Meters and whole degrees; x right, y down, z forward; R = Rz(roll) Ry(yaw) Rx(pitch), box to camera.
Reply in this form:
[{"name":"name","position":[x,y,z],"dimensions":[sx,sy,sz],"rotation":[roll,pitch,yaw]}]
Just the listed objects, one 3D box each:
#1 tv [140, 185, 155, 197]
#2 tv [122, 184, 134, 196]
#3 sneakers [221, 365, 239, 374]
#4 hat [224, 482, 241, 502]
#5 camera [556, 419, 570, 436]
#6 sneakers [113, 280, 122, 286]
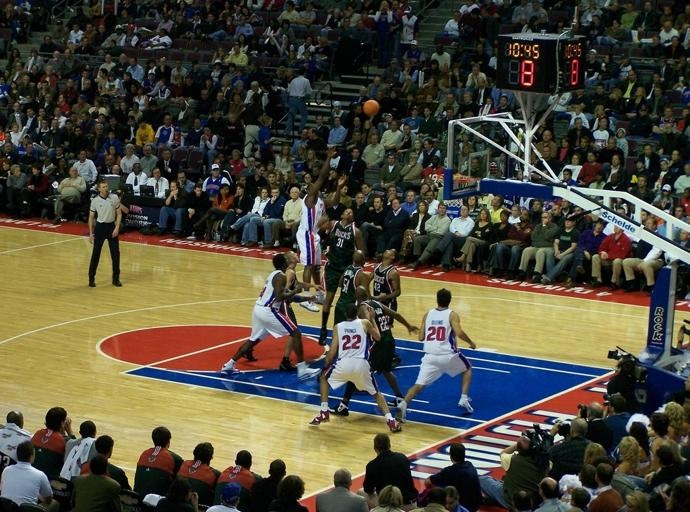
[{"name":"tv","position":[-5.628,-1.876,24.203],"dimensions":[0.362,0.380,0.311],"rotation":[7,13,14]},{"name":"tv","position":[-6.236,-1.887,24.318],"dimensions":[0.284,0.297,0.078],"rotation":[4,2,16]},{"name":"sneakers","position":[-1.873,1.901,14.040],"dimensions":[0.342,0.163,0.121],"rotation":[-1,28,-22]},{"name":"hat","position":[-1.062,2.230,7.926],"dimensions":[0.114,0.106,0.188],"rotation":[7,34,0]},{"name":"camera","position":[2.649,2.070,10.167],"dimensions":[0.153,0.226,0.218],"rotation":[0,2,2]},{"name":"sneakers","position":[-5.102,0.600,18.980],"dimensions":[0.214,0.129,0.238],"rotation":[-2,14,-11]}]
